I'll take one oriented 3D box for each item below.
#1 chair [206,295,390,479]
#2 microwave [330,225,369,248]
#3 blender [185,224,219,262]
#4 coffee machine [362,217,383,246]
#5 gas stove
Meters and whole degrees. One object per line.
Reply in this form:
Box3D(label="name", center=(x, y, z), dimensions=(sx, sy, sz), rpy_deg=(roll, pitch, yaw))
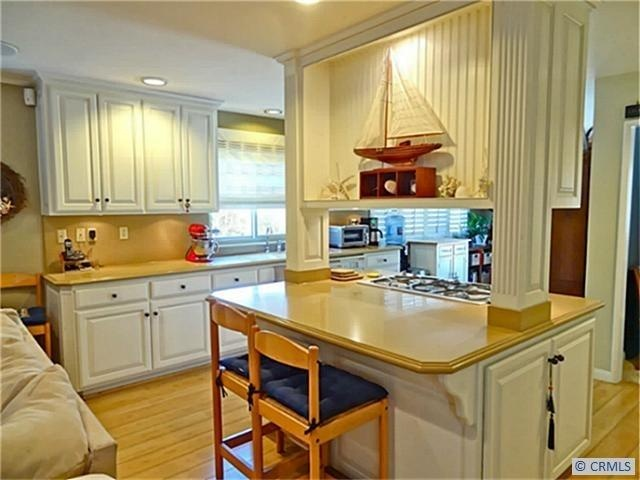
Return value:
Box3D(label="chair", center=(-0.099, 0.835, 2.748), dimensions=(0.509, 1.017, 1.002), rpy_deg=(-9, 11, -37))
Box3D(label="microwave", center=(0.323, -0.103, 5.741), dimensions=(0.384, 0.232, 0.282), rpy_deg=(-3, 5, -41))
Box3D(label="blender", center=(-1.215, 0.022, 4.897), dimensions=(0.370, 0.357, 0.218), rpy_deg=(4, 6, 34))
Box3D(label="coffee machine", center=(0.676, -0.111, 6.148), dimensions=(0.370, 0.454, 0.276), rpy_deg=(-2, 4, 5))
Box3D(label="gas stove", center=(0.808, 0.331, 3.470), dimensions=(0.489, 0.048, 0.985), rpy_deg=(-12, 14, -43))
